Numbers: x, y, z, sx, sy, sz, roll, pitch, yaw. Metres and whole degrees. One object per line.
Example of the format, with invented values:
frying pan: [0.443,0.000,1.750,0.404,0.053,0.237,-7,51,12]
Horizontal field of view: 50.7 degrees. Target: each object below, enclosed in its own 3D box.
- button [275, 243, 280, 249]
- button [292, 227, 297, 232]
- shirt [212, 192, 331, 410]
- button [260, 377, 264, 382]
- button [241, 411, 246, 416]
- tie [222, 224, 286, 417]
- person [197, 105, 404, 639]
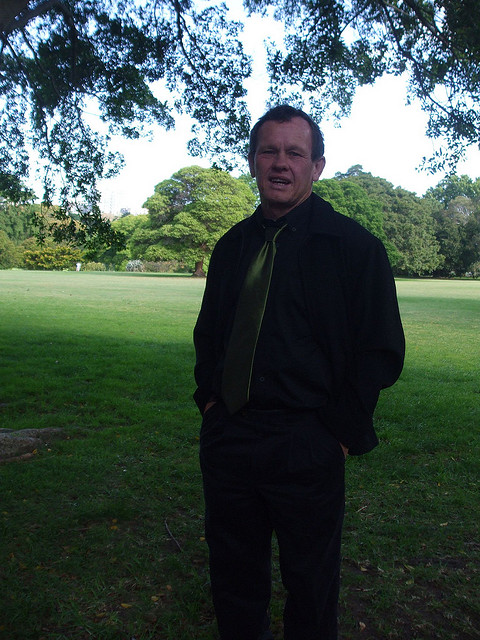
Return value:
button: [0.137,-0.274,1.863,0.019,0.017,0.005,-2,-14,7]
button: [0.199,-0.336,1.875,0.021,0.018,0.004,-1,-1,-6]
shirt: [0.176,-0.070,1.817,0.289,0.767,0.279,3,4,-11]
button: [0.075,0.204,1.736,0.013,0.015,0.003,5,4,12]
button: [0.012,0.327,1.776,0.018,0.017,0.003,6,4,30]
tie: [0.039,-0.006,1.840,0.172,0.684,0.053,16,-14,-10]
person: [0.177,0.202,1.917,0.816,2.085,0.468,5,4,14]
